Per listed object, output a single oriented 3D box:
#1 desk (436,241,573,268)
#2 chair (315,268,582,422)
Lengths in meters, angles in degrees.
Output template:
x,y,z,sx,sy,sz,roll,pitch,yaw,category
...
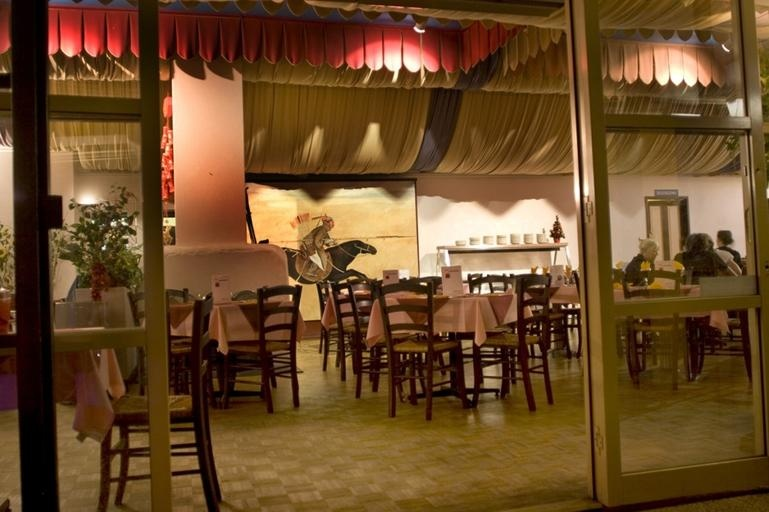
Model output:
x,y,z,sx,sy,sz,roll,pitch,yaw,category
2.255,-0.029,12.021,2.614,0.463,0.379,-3,2,-12,desk
0.662,0.719,5.805,1.351,0.999,1.441,4,-6,-44,chair
